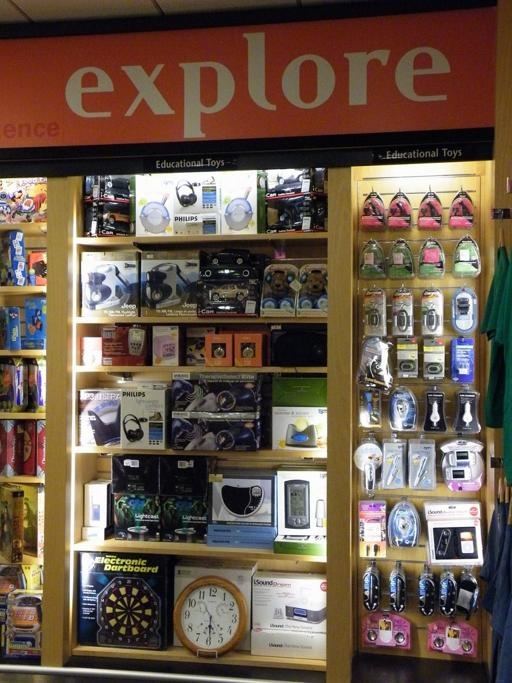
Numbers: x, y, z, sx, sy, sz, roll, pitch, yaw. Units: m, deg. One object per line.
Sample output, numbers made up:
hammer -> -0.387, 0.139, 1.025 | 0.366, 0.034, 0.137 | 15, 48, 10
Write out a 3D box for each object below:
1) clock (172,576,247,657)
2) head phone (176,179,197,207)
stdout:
clock -> -0.197, 1.253, 2.925 | 0.319, 0.337, 0.064 | 0, -12, 5
head phone -> -0.317, -0.683, 2.993 | 0.104, 0.134, 0.058 | -7, -17, -25
